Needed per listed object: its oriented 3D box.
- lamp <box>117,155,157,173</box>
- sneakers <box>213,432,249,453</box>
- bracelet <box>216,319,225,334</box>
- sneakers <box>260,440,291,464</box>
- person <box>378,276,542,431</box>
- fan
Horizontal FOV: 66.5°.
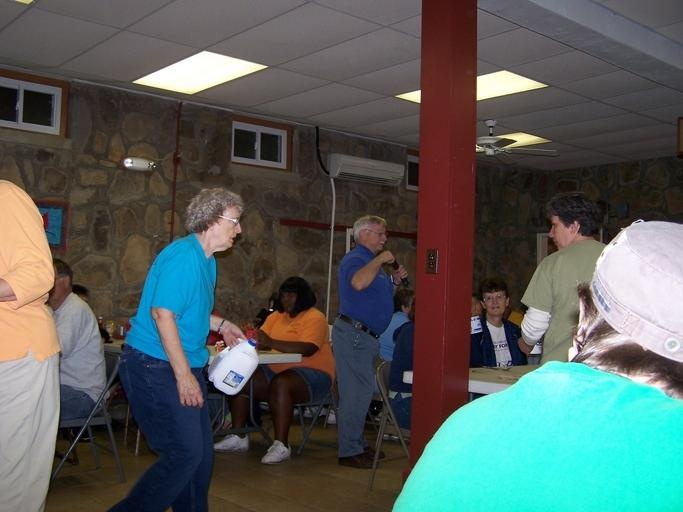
[{"bbox_3d":[-2.092,-0.938,5.385,0.276,0.137,0.088,1,6,-40],"label":"lamp"},{"bbox_3d":[-0.889,1.495,4.215,0.281,0.132,0.141,7,-10,-20],"label":"sneakers"},{"bbox_3d":[-0.629,0.366,2.690,0.016,0.059,0.061,13,-2,-16],"label":"bracelet"},{"bbox_3d":[-0.496,1.477,3.947,0.110,0.115,0.247,-4,-8,32],"label":"sneakers"},{"bbox_3d":[0.868,0.630,3.957,1.133,1.563,0.872,9,-13,-32],"label":"person"},{"bbox_3d":[2.064,-1.345,6.128,0.971,0.363,0.901,7,-10,-41],"label":"fan"}]
